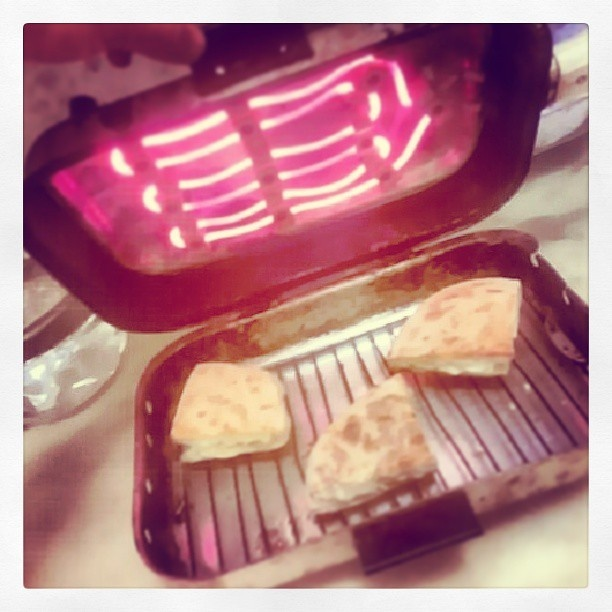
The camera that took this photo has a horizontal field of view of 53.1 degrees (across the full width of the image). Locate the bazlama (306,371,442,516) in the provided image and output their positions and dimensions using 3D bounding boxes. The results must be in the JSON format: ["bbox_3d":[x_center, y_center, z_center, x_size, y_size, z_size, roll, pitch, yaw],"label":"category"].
[{"bbox_3d":[0.101,0.208,0.921,0.184,0.179,0.058,-17,-31,9],"label":"bazlama"}]
